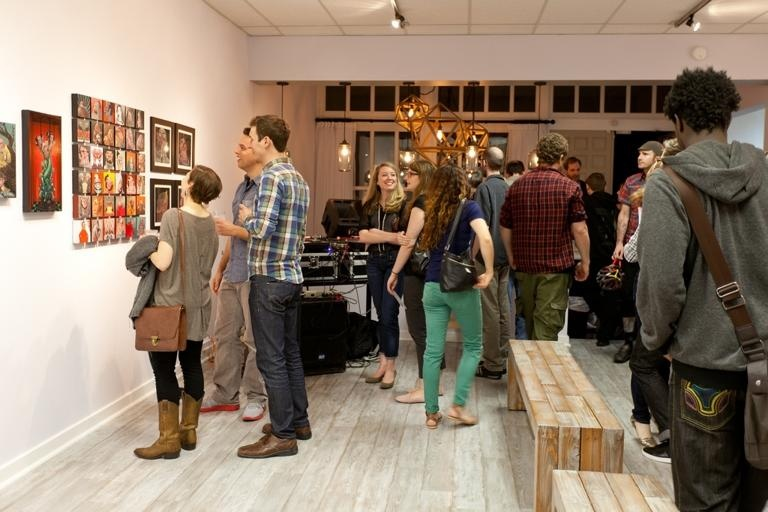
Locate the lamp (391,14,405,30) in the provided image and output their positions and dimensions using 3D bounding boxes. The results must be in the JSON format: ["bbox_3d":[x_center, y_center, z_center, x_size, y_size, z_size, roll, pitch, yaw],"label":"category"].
[{"bbox_3d":[0.158,-2.652,6.004,0.105,0.154,0.152,1,-18,5],"label":"lamp"}]

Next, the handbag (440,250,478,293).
[{"bbox_3d":[0.518,0.108,3.786,0.278,0.290,0.126,1,7,3],"label":"handbag"}]

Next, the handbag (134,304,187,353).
[{"bbox_3d":[-1.469,0.465,3.510,0.297,0.283,0.126,1,6,6],"label":"handbag"}]

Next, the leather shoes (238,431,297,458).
[{"bbox_3d":[-0.806,1.326,3.804,0.414,0.180,0.163,3,-8,-5],"label":"leather shoes"}]

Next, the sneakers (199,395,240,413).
[{"bbox_3d":[-1.382,1.228,4.485,0.295,0.123,0.121,3,-4,-8],"label":"sneakers"}]

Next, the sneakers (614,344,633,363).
[{"bbox_3d":[2.603,1.042,5.796,0.129,0.143,0.361,-5,-3,44],"label":"sneakers"}]

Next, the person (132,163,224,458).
[{"bbox_3d":[-1.418,0.381,3.681,0.677,1.980,0.428,-6,12,-33],"label":"person"}]

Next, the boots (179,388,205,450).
[{"bbox_3d":[-1.428,1.181,3.899,0.172,0.388,0.374,7,-11,-37],"label":"boots"}]

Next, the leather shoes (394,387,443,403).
[{"bbox_3d":[0.315,1.213,4.720,0.449,0.208,0.158,2,-7,4],"label":"leather shoes"}]

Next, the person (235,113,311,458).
[{"bbox_3d":[-0.749,0.188,3.792,0.417,2.332,0.466,4,11,20],"label":"person"}]

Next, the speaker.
[{"bbox_3d":[-0.582,0.787,5.493,0.630,0.945,0.654,-1,0,-6],"label":"speaker"}]
